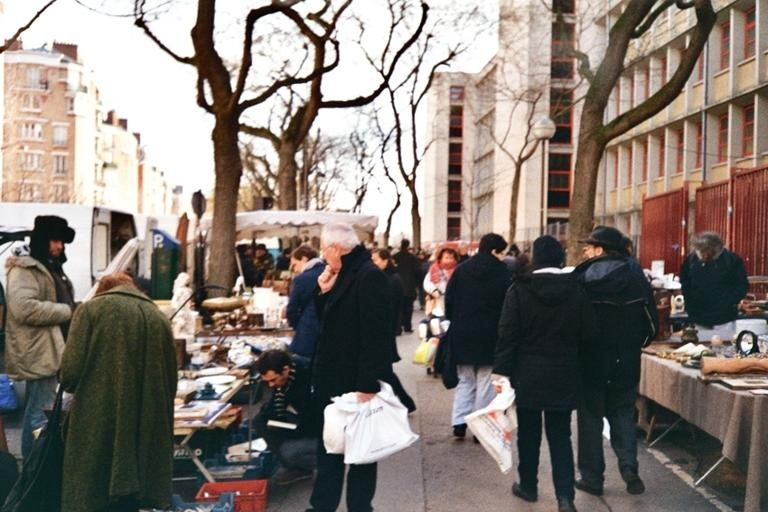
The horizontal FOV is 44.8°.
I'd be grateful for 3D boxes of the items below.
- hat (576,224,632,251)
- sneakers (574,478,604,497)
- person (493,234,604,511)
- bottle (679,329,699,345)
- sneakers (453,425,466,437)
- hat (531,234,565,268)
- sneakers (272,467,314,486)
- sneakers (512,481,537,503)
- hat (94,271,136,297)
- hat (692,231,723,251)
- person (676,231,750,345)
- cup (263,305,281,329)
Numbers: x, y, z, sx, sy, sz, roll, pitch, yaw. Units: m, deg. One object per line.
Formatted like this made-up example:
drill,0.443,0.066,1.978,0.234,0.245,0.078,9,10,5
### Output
hat,3.110,-0.224,12.919,0.582,0.220,0.407,12,0,10
sneakers,2.850,3.189,12.887,0.402,0.168,0.176,13,11,42
person,2.181,1.559,12.536,1.236,3.663,0.458,-1,-1,12
bottle,4.539,1.201,13.791,0.226,0.214,0.221,0,-6,5
sneakers,1.161,2.682,14.218,0.167,0.176,0.202,1,-13,3
hat,2.279,-0.060,12.661,0.466,0.445,0.385,-2,13,17
sneakers,-1.296,3.085,13.033,0.635,0.257,0.226,3,-3,-12
sneakers,1.929,3.250,12.753,0.176,0.152,0.334,-7,19,-34
hat,-3.518,0.351,12.165,0.418,0.391,0.320,-28,-17,18
hat,5.080,-0.234,14.536,0.377,0.323,0.299,6,-12,21
person,5.176,0.479,14.539,0.993,1.675,0.398,-1,-1,16
cup,-1.895,1.049,15.886,0.332,0.350,0.320,-1,-5,0
